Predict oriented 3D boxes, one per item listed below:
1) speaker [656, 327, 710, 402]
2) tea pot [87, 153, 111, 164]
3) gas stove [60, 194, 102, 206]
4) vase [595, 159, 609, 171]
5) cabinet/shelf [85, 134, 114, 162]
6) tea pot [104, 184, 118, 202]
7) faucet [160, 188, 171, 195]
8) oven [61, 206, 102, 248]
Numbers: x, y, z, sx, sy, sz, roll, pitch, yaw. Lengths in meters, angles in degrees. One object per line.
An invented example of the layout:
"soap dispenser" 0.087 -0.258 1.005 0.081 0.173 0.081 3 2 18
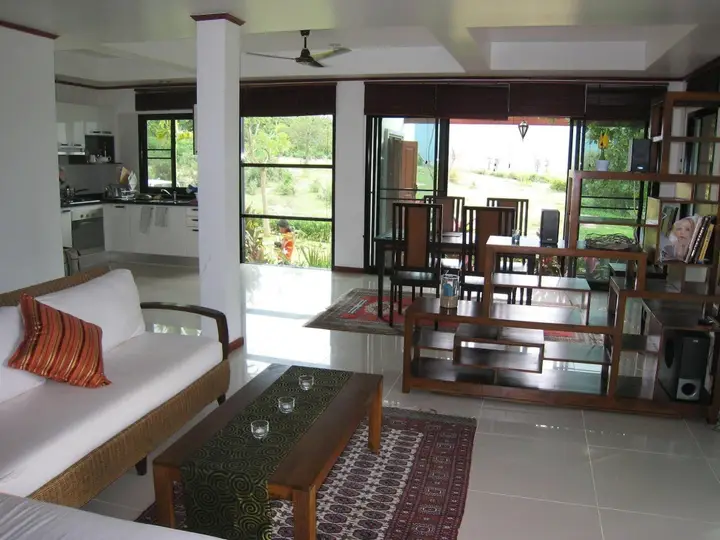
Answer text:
"speaker" 2.426 0.707 4.071 0.184 0.583 0.525 3 3 7
"tea pot" -4.442 -1.907 9.274 0.097 0.156 0.417 8 16 29
"gas stove" -4.511 -1.167 8.790 0.575 0.164 1.368 -6 16 -24
"vase" 1.907 -0.827 4.308 0.097 0.083 0.105 -1 4 1
"cabinet/shelf" -4.459 -2.083 9.222 0.256 0.469 0.484 4 8 22
"tea pot" -4.311 -1.367 9.399 0.237 0.232 0.385 -6 16 -24
"faucet" -3.382 -1.347 9.398 0.289 0.096 0.123 11 18 37
"oven" -4.297 -0.675 8.301 0.510 0.706 0.712 3 9 15
